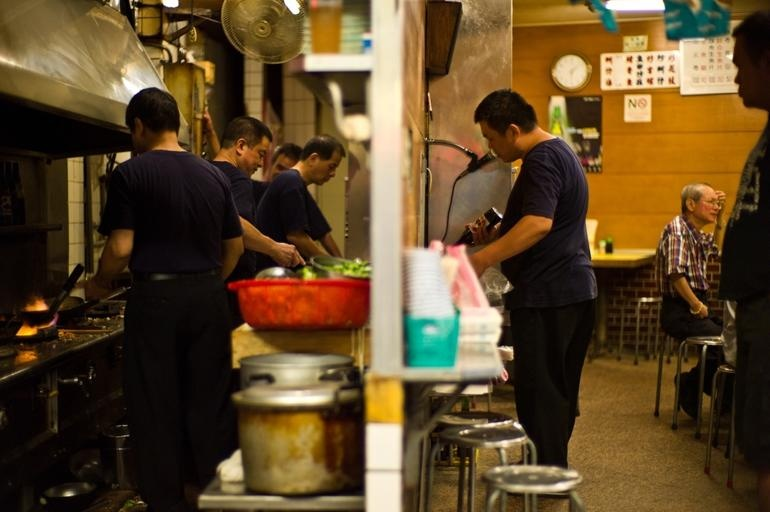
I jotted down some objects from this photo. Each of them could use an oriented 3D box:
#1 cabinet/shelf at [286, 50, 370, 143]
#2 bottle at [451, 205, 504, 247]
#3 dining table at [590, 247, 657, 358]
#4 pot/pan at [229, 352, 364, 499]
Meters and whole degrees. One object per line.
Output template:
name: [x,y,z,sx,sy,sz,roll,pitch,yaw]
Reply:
cabinet/shelf: [-0.289,-0.702,3.566,0.279,0.352,2.052,1,7,-6]
bottle: [0.624,-0.205,4.994,0.362,0.107,0.099,-43,-6,22]
dining table: [2.553,0.531,8.170,0.621,1.151,1.460,4,7,19]
pot/pan: [-0.294,0.659,2.937,0.527,0.385,0.439,0,0,-1]
